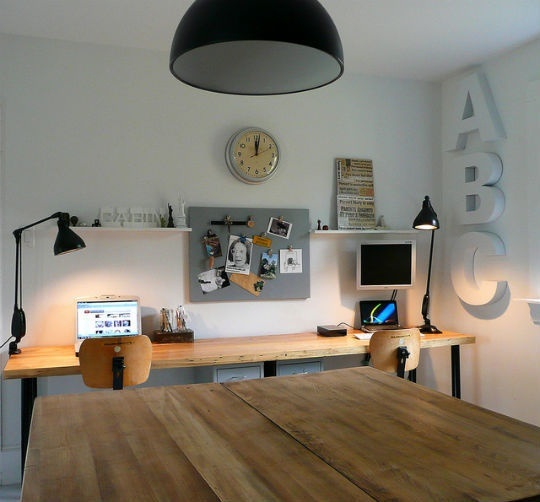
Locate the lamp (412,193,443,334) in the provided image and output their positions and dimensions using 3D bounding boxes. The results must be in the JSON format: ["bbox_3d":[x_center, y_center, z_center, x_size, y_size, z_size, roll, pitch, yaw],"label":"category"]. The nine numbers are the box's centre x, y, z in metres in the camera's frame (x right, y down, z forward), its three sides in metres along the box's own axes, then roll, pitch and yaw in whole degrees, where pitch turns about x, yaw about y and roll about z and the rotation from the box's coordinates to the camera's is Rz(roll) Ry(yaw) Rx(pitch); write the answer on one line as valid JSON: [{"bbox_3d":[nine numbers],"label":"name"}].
[{"bbox_3d":[1.280,0.070,3.689,0.198,1.145,0.715,-2,-6,21],"label":"lamp"}]

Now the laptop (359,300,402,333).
[{"bbox_3d":[0.868,0.509,3.677,0.263,0.225,0.210,1,-2,-8],"label":"laptop"}]

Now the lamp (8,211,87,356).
[{"bbox_3d":[-1.403,0.176,2.857,0.658,0.909,0.336,-4,-7,36],"label":"lamp"}]

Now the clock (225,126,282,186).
[{"bbox_3d":[-0.146,-0.720,3.423,0.365,0.457,0.080,-2,-2,-26],"label":"clock"}]

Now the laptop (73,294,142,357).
[{"bbox_3d":[-1.059,0.428,2.956,0.357,0.418,0.323,0,-3,-15],"label":"laptop"}]
